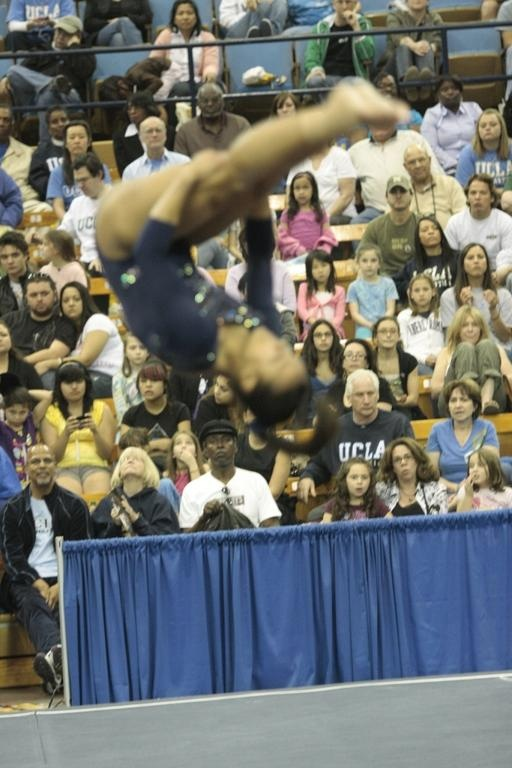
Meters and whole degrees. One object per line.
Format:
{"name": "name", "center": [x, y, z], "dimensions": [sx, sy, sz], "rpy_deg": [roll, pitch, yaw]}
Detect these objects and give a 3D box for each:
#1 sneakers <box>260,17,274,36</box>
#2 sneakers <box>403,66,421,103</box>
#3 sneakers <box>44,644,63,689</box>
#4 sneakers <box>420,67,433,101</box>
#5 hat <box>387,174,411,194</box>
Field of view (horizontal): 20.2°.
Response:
{"name": "sneakers", "center": [0.117, -3.748, 15.209], "dimensions": [0.110, 0.219, 0.068], "rpy_deg": [8, 25, 15]}
{"name": "sneakers", "center": [1.533, -2.890, 13.962], "dimensions": [0.119, 0.378, 0.139], "rpy_deg": [-1, 15, -9]}
{"name": "sneakers", "center": [-1.103, 1.552, 7.994], "dimensions": [0.088, 0.280, 0.122], "rpy_deg": [-4, -1, 30]}
{"name": "sneakers", "center": [1.680, -2.892, 13.915], "dimensions": [0.098, 0.310, 0.126], "rpy_deg": [1, 28, -1]}
{"name": "hat", "center": [1.165, -1.601, 11.561], "dimensions": [0.137, 0.111, 0.220], "rpy_deg": [-3, -11, 6]}
